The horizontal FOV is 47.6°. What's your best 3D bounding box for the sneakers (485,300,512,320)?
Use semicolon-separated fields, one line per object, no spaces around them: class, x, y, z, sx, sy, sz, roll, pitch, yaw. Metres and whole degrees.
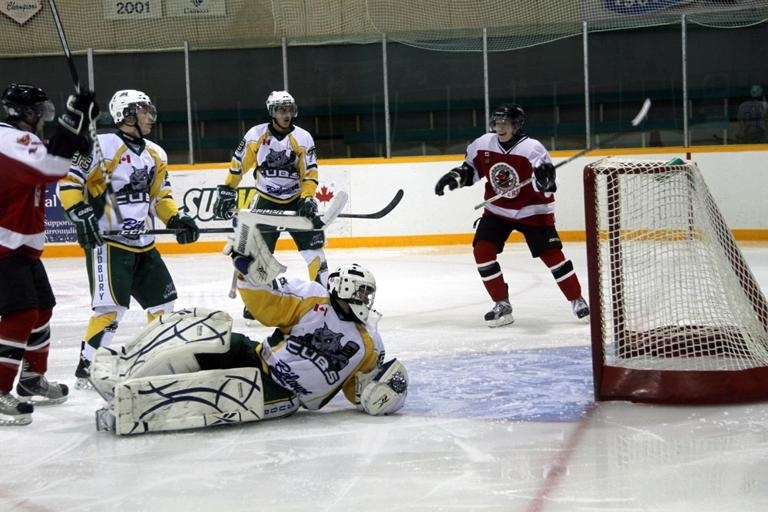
sneakers;0.899;0.436;6.846;0.202;0.150;0.151;-1;13;3

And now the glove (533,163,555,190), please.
glove;1.200;-0.596;6.651;0.159;0.200;0.194;2;26;6

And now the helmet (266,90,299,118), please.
helmet;-0.818;-1.209;6.961;0.239;0.192;0.211;-10;15;-32

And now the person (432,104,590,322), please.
person;1.028;-0.342;6.897;1.155;1.740;0.997;-1;-2;26

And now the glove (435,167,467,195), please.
glove;0.522;-0.607;7.057;0.137;0.142;0.410;28;33;23

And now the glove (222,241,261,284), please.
glove;-0.770;0.037;4.748;0.182;0.217;0.100;25;28;34

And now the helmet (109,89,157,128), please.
helmet;-1.612;-0.920;5.570;0.293;0.249;0.230;0;-1;0

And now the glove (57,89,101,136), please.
glove;-1.674;-0.762;4.739;0.199;0.248;0.107;32;-16;-28

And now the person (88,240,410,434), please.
person;-0.740;0.561;5.088;1.924;0.879;1.145;-3;11;-16

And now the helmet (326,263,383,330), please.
helmet;-0.170;0.202;4.858;0.327;0.304;0.248;12;-5;14

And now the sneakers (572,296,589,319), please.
sneakers;1.540;0.413;6.796;0.119;0.065;0.166;-24;19;19

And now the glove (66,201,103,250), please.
glove;-1.696;-0.164;5.179;0.394;0.240;0.141;-5;-8;39

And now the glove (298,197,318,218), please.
glove;-0.567;-0.360;6.530;0.205;0.081;0.144;10;-7;-8
